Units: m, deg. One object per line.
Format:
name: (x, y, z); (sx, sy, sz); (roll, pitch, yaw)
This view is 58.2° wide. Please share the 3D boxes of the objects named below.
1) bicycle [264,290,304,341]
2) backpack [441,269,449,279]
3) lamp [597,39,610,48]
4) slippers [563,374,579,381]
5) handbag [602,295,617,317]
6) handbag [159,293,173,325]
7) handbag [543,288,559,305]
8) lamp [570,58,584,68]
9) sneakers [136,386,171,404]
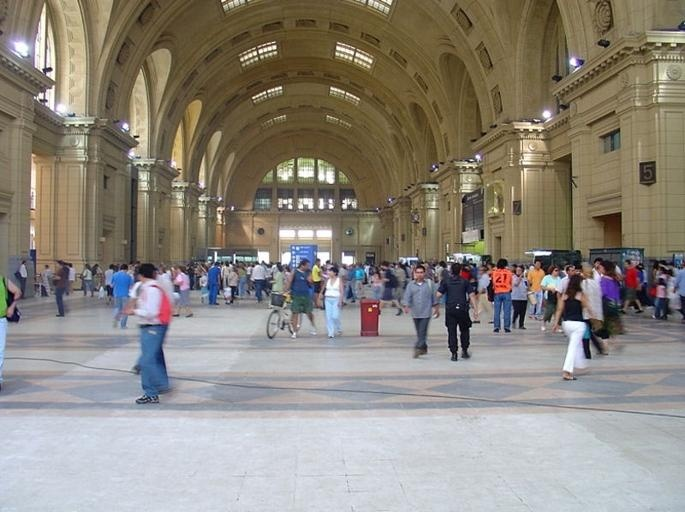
bicycle: (-1.493, 1.553, 16.012); (0.735, 1.065, 1.688); (-9, -11, 17)
backpack: (2.656, 0.483, 16.097); (0.137, 0.288, 0.200); (0, 2, 5)
lamp: (9.309, -7.538, 22.062); (0.376, 0.212, 0.534); (1, -2, 4)
slippers: (3.888, 2.060, 10.502); (0.232, 0.091, 0.116); (-2, 2, -19)
handbag: (5.581, 1.093, 13.003); (0.356, 0.390, 0.345); (-2, -2, 9)
handbag: (-2.720, 0.828, 9.432); (0.156, 0.426, 0.296); (-3, 4, -17)
handbag: (5.433, 1.027, 16.068); (0.459, 0.361, 0.470); (-1, -3, 35)
lamp: (9.103, -7.442, 23.889); (0.450, 0.392, 0.239); (12, 0, -12)
sneakers: (-2.840, 2.100, 9.254); (0.493, 0.230, 0.188); (2, 0, -3)
